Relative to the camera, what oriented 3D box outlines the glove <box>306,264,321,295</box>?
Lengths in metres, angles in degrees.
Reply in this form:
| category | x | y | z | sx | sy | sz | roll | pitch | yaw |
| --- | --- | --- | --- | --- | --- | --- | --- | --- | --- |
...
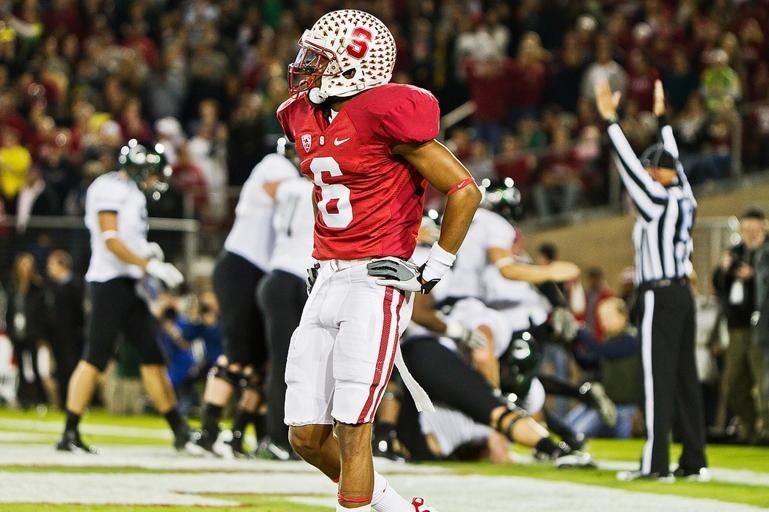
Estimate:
| category | x | y | z | sx | sy | sz | roll | pitch | yaw |
| --- | --- | --- | --- | --- | --- | --- | --- | --- | --- |
| glove | -0.642 | 0.183 | 10.764 | 0.082 | 0.233 | 0.180 | 7 | -6 | -18 |

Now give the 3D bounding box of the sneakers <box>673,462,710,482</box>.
| category | x | y | z | sx | sy | sz | roll | pitch | yaw |
| --- | --- | --- | --- | --- | --- | --- | --- | --- | --- |
| sneakers | 3.316 | 2.319 | 12.929 | 0.443 | 0.187 | 0.154 | -4 | -13 | 17 |

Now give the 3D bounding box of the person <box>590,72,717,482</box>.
| category | x | y | z | sx | sy | sz | roll | pitch | yaw |
| --- | --- | --- | --- | --- | --- | --- | --- | --- | --- |
| person | 2.993 | 0.207 | 13.098 | 1.022 | 4.343 | 0.515 | -1 | -5 | 9 |

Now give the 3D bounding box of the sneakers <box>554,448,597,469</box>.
| category | x | y | z | sx | sy | sz | roll | pitch | yaw |
| --- | --- | --- | --- | --- | --- | --- | --- | --- | --- |
| sneakers | 2.119 | 2.229 | 13.462 | 0.552 | 0.251 | 0.201 | 1 | -2 | -10 |

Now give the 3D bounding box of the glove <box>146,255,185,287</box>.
| category | x | y | z | sx | sy | sz | roll | pitch | yaw |
| --- | --- | --- | --- | --- | --- | --- | --- | --- | --- |
| glove | -2.552 | 0.174 | 13.944 | 0.426 | 0.115 | 0.238 | 38 | 2 | -34 |
